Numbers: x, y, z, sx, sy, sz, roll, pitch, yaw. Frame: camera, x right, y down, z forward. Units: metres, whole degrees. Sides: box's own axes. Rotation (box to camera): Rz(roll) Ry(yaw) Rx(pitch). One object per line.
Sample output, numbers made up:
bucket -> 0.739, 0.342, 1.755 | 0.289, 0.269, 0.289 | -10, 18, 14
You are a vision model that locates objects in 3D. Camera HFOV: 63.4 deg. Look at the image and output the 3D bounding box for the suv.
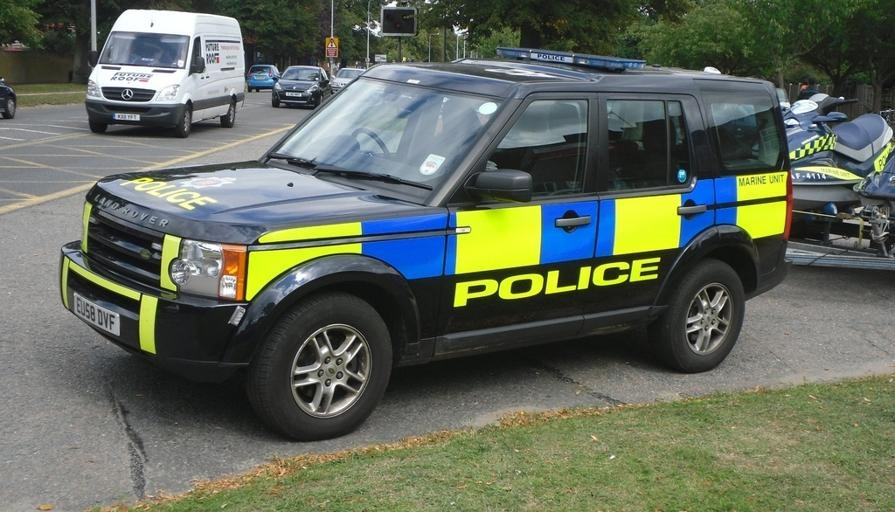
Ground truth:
suv -> 0.039, -0.289, 7.097 | 6.047, 2.422, 3.380 | 0, 9, -29
